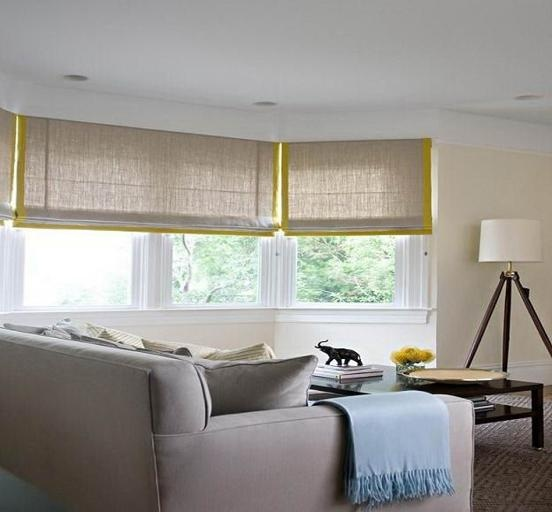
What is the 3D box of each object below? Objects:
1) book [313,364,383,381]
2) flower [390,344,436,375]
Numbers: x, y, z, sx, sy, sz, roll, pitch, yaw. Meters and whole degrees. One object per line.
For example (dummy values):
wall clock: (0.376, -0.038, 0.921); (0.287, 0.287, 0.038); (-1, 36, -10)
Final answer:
book: (0.430, 0.695, 3.339); (0.307, 0.049, 0.279); (2, -4, -38)
flower: (0.889, 0.669, 3.649); (0.248, 0.127, 0.205); (-2, -4, 24)
